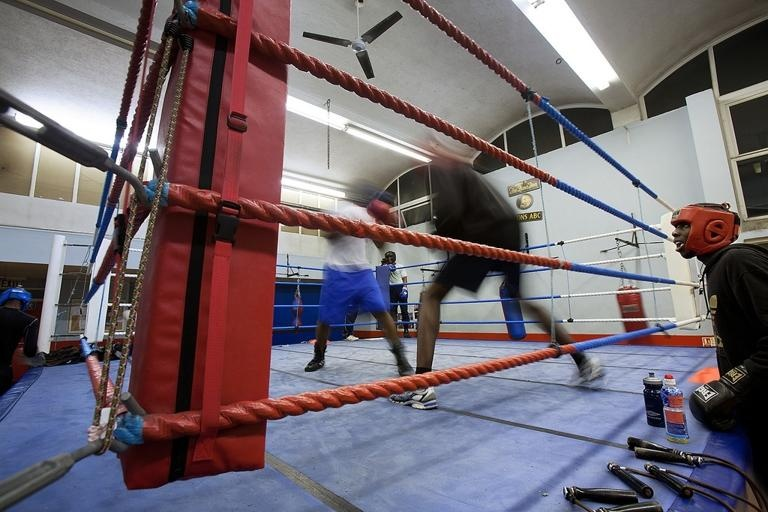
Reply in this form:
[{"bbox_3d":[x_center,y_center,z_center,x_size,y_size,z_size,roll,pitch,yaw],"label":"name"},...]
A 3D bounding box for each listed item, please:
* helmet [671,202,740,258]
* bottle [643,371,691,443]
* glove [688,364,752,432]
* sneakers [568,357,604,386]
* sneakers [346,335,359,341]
[{"bbox_3d":[1.974,-0.147,2.514,0.366,0.331,0.308,0,1,16],"label":"helmet"},{"bbox_3d":[1.604,0.811,2.307,0.216,0.323,0.312,3,6,37],"label":"bottle"},{"bbox_3d":[1.883,0.775,2.282,0.258,0.353,0.132,1,5,14],"label":"glove"},{"bbox_3d":[1.640,0.934,3.266,0.155,0.197,0.464,-16,-19,37],"label":"sneakers"},{"bbox_3d":[-0.689,1.727,8.632,0.365,0.159,0.136,-10,-13,40],"label":"sneakers"}]
